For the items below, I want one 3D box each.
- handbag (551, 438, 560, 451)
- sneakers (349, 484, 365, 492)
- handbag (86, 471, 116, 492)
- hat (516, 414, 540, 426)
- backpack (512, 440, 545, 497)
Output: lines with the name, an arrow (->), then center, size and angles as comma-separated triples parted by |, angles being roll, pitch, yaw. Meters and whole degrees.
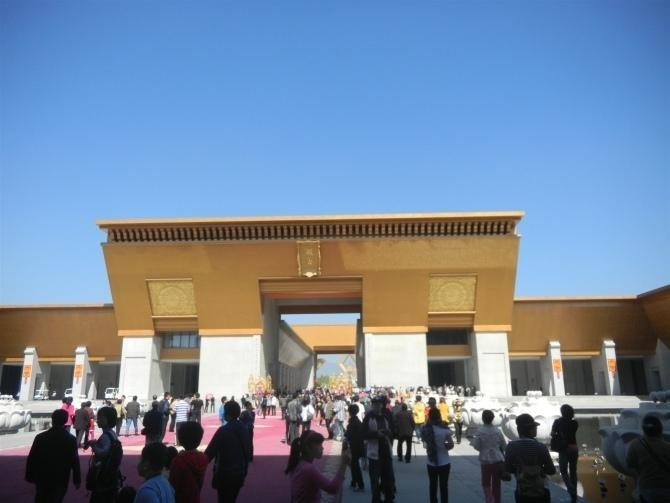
handbag -> 3.404, 2.935, 7.451 | 0.108, 0.207, 0.204 | -6, -15, 17
sneakers -> 0.405, 4.251, 8.726 | 0.195, 0.187, 0.095 | 1, -42, 8
handbag -> -2.638, 2.582, 5.505 | 0.336, 0.203, 0.091 | 5, -15, -23
hat -> 2.277, 1.969, 5.688 | 0.227, 0.114, 0.164 | -7, 1, -13
backpack -> 2.159, 2.387, 5.397 | 0.366, 0.580, 0.181 | -6, -15, 18
